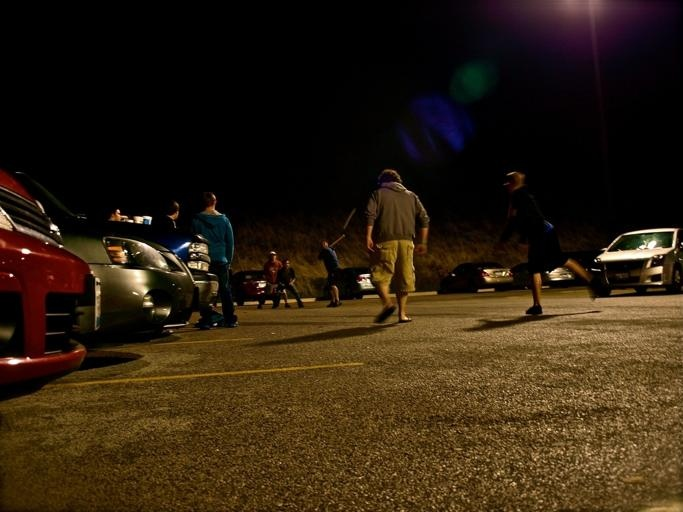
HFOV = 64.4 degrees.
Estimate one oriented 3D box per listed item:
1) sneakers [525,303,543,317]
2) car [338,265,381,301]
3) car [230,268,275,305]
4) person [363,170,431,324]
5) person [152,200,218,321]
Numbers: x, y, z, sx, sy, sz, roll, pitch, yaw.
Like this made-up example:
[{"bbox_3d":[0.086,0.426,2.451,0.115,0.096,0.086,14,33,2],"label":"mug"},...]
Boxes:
[{"bbox_3d":[3.205,0.904,9.098,0.169,0.164,0.314,-4,-11,19],"label":"sneakers"},{"bbox_3d":[0.833,1.347,26.430,1.311,0.907,2.800,-2,3,-17],"label":"car"},{"bbox_3d":[-4.076,1.435,24.557,1.356,0.991,2.884,-3,6,-26],"label":"car"},{"bbox_3d":[0.804,-0.192,8.204,1.159,2.416,0.626,-3,-6,-39],"label":"person"},{"bbox_3d":[-3.092,-0.018,9.890,0.657,2.246,1.409,0,-2,19],"label":"person"}]
